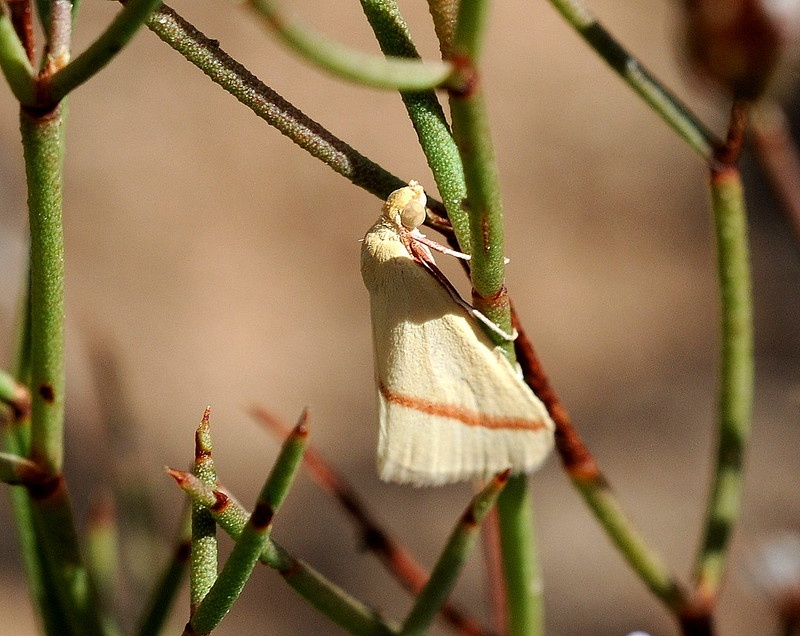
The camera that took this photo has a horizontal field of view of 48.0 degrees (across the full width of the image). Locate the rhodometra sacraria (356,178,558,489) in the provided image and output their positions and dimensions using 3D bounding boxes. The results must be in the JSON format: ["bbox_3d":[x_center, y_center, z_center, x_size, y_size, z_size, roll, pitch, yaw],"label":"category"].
[{"bbox_3d":[0.010,-0.008,0.433,0.068,0.157,0.150,-6,-11,1],"label":"rhodometra sacraria"}]
